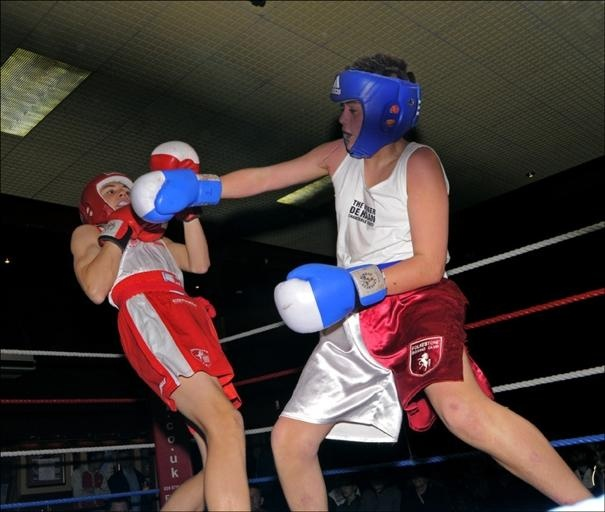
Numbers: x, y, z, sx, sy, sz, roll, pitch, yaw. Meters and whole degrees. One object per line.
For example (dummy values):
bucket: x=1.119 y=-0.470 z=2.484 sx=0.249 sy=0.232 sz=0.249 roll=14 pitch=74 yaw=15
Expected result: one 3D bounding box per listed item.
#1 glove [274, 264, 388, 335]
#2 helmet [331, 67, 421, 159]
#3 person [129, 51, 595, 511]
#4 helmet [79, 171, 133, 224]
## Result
glove: x=0.090 y=0.116 z=1.383 sx=0.298 sy=0.151 sz=0.103 roll=-17 pitch=-33 yaw=-15
helmet: x=0.190 y=-0.403 z=1.508 sx=0.289 sy=0.194 sz=0.229 roll=-7 pitch=-6 yaw=-16
person: x=0.129 y=0.056 z=1.430 sx=0.810 sy=1.249 sz=0.539 roll=-16 pitch=-19 yaw=16
helmet: x=-0.745 y=-0.233 z=1.991 sx=0.258 sy=0.206 sz=0.178 roll=1 pitch=10 yaw=2
